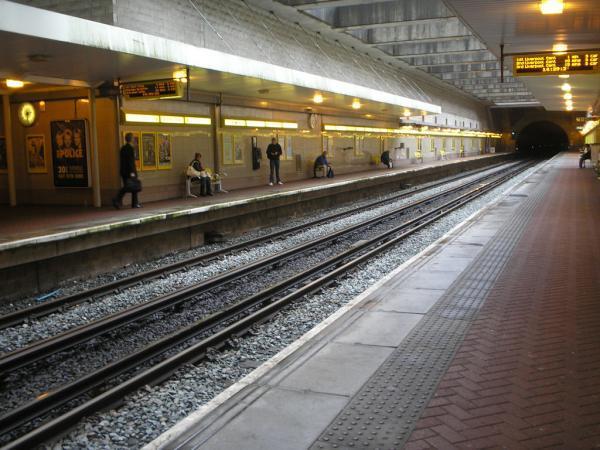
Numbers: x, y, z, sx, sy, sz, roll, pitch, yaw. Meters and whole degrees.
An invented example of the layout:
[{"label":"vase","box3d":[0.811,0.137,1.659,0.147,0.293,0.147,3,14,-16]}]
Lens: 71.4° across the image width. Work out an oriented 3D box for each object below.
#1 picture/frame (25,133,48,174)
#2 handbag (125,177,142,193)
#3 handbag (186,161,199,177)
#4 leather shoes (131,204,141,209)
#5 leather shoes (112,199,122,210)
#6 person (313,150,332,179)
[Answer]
[{"label":"picture/frame","box3d":[-8.647,-2.328,13.661,0.944,1.250,0.146,-3,8,26]},{"label":"handbag","box3d":[-5.015,-1.194,12.434,0.520,0.421,0.299,-5,-1,-44]},{"label":"handbag","box3d":[-3.883,-1.998,15.085,0.455,0.503,0.213,-7,7,-13]},{"label":"leather shoes","box3d":[-4.979,-0.570,12.664,0.384,0.135,0.118,-7,11,-22]},{"label":"leather shoes","box3d":[-5.525,-0.653,12.585,0.296,0.185,0.618,1,20,-28]},{"label":"person","box3d":[1.235,-3.428,23.699,1.124,1.467,0.547,-8,7,-18]}]
